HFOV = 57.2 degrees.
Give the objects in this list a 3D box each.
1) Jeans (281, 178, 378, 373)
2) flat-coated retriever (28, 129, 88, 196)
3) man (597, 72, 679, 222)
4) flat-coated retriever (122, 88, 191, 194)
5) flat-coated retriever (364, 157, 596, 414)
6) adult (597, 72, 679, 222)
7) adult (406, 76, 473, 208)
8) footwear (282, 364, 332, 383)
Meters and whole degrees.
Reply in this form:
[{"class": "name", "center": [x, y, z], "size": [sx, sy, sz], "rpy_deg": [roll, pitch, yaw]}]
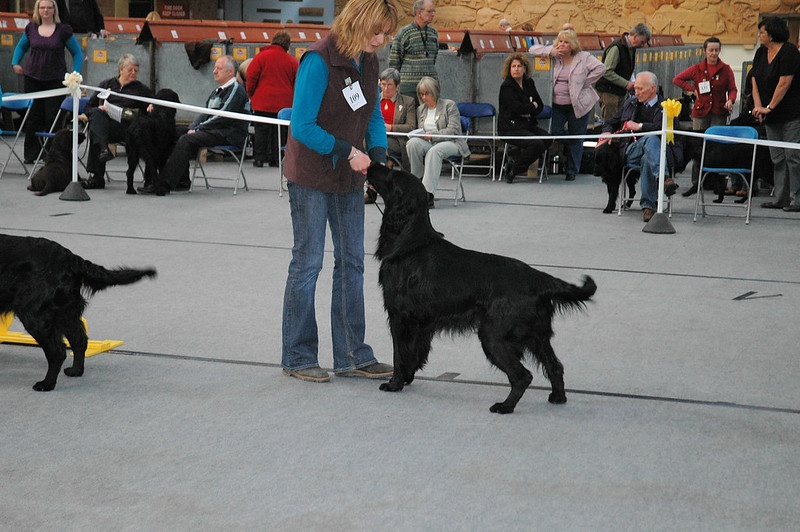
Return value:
[{"class": "Jeans", "center": [-0.371, -0.084, 4.597], "size": [0.566, 1.687, 0.366], "rpy_deg": [-1, -31, -4]}, {"class": "flat-coated retriever", "center": [-4.789, -1.444, 10.137], "size": [0.406, 0.923, 0.879], "rpy_deg": [4, 6, 2]}, {"class": "man", "center": [3.009, -1.496, 9.204], "size": [0.745, 1.858, 1.129], "rpy_deg": [0, 8, -31]}, {"class": "flat-coated retriever", "center": [-3.445, -1.787, 10.463], "size": [0.582, 1.517, 0.811], "rpy_deg": [5, 7, 14]}, {"class": "flat-coated retriever", "center": [0.381, 0.118, 4.114], "size": [1.559, 1.199, 0.544], "rpy_deg": [10, 12, 36]}, {"class": "adult", "center": [3.001, -1.495, 9.191], "size": [0.742, 1.858, 1.136], "rpy_deg": [0, 7, -29]}, {"class": "adult", "center": [0.465, -1.809, 10.431], "size": [0.857, 1.691, 0.971], "rpy_deg": [9, 20, 34]}, {"class": "footwear", "center": [-0.555, 0.641, 4.401], "size": [0.233, 0.093, 0.104], "rpy_deg": [-1, 3, 12]}]
